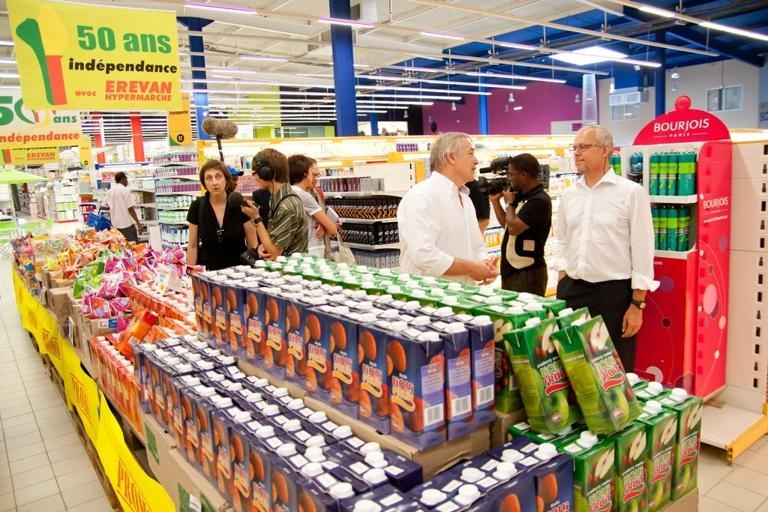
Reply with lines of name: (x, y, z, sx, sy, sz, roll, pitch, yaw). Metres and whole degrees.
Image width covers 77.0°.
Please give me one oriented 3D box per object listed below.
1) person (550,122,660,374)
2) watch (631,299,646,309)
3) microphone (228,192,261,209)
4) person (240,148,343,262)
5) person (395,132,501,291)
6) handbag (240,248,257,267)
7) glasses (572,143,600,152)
person: (1.644, -0.049, 3.621, 0.728, 1.795, 0.433, 4, 16, 31)
watch: (1.847, 0.343, 3.510, 0.099, 0.070, 0.076, -2, 13, 9)
microphone: (-1.092, -0.425, 3.750, 0.132, 0.136, 0.425, -4, 7, 5)
person: (-0.872, -0.466, 4.215, 0.542, 0.916, 0.953, -4, 13, 2)
person: (0.432, -0.282, 3.396, 0.666, 1.117, 0.556, -4, 13, 0)
handbag: (-1.047, 0.017, 3.773, 0.134, 0.102, 0.211, -9, 1, -23)
glasses: (1.489, -0.791, 3.543, 0.137, 0.050, 0.026, 1, 14, 20)
